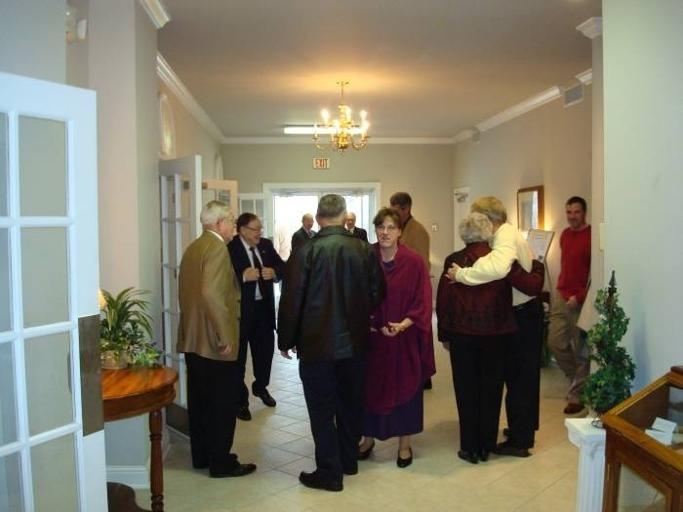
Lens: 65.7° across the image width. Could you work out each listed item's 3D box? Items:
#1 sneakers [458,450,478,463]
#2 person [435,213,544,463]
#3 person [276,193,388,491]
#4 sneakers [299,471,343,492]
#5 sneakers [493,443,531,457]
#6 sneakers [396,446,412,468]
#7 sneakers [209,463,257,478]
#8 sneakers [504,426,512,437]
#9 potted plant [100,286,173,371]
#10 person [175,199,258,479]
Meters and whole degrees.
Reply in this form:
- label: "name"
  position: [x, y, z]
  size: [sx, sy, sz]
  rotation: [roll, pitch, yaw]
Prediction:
- label: "sneakers"
  position: [0.908, 1.459, 3.823]
  size: [0.061, 0.056, 0.132]
  rotation: [-6, 14, -38]
- label: "person"
  position: [1.010, 0.602, 3.744]
  size: [0.662, 1.799, 0.316]
  rotation: [1, 4, 18]
- label: "person"
  position: [-0.061, 0.576, 3.452]
  size: [0.695, 1.939, 0.360]
  rotation: [-1, 3, -7]
- label: "sneakers"
  position: [-0.135, 1.496, 3.547]
  size: [0.278, 0.127, 0.114]
  rotation: [5, -7, 20]
- label: "sneakers"
  position: [1.253, 1.447, 3.910]
  size: [0.233, 0.102, 0.126]
  rotation: [9, -4, 15]
- label: "sneakers"
  position: [0.448, 1.460, 3.808]
  size: [0.097, 0.080, 0.281]
  rotation: [-3, -6, 7]
- label: "sneakers"
  position: [-0.749, 1.447, 3.648]
  size: [0.270, 0.090, 0.118]
  rotation: [-1, -4, -14]
- label: "sneakers"
  position: [1.293, 1.388, 4.124]
  size: [0.063, 0.043, 0.123]
  rotation: [0, -2, 8]
- label: "potted plant"
  position: [-1.333, 0.406, 3.227]
  size: [0.387, 0.541, 0.434]
  rotation: [-8, -11, 2]
- label: "person"
  position: [-0.877, 0.705, 3.591]
  size: [0.435, 1.659, 0.357]
  rotation: [1, 4, 26]
